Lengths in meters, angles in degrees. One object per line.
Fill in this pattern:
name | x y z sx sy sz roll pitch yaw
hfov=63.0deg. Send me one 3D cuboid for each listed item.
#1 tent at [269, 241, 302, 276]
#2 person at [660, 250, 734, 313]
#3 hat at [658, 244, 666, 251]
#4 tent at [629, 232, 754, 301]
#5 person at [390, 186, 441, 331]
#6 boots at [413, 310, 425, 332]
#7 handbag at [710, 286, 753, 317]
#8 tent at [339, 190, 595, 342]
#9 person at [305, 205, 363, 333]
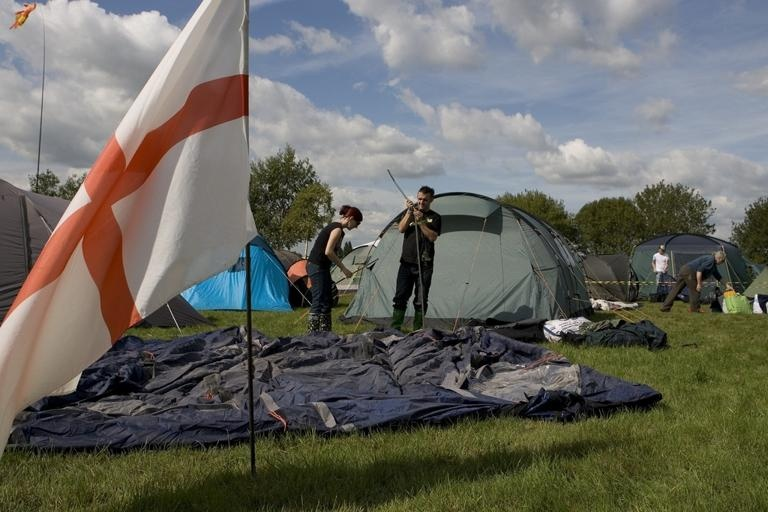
tent | -3.157 0.071 20.148 1.310 0.551 1.372 6 14 19
person | 8.063 0.675 16.046 1.503 1.752 0.654 7 25 28
hat | 9.300 -0.283 20.812 0.160 0.246 0.238 -2 -17 18
tent | 9.971 0.402 20.359 3.223 2.175 3.326 0 -3 10
person | 0.561 0.048 10.914 0.766 2.447 1.176 2 12 10
boots | 0.602 1.065 10.807 0.153 0.364 0.326 2 12 11
handbag | 8.797 1.126 15.546 1.023 0.418 0.716 2 -2 -34
tent | 1.578 0.360 11.740 3.329 1.595 3.456 0 -1 20
person | -0.835 0.255 10.138 0.818 2.167 0.888 -2 12 -7
